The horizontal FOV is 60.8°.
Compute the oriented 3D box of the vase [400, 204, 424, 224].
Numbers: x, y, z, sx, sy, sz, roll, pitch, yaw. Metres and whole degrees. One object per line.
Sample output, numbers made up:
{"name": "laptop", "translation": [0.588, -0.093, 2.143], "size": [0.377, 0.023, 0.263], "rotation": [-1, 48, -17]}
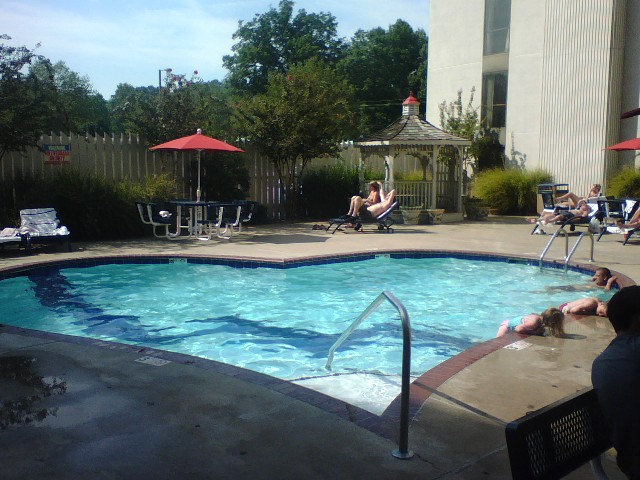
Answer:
{"name": "vase", "translation": [3.122, -0.891, 18.547], "size": [0.619, 0.483, 0.626], "rotation": [-1, 6, -23]}

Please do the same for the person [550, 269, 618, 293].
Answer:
{"name": "person", "translation": [4.377, 0.710, 9.132], "size": [0.960, 0.408, 0.454], "rotation": [0, -1, 13]}

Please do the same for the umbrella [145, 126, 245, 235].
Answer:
{"name": "umbrella", "translation": [-3.660, -1.636, 15.148], "size": [1.941, 2.774, 3.719], "rotation": [-4, 9, -27]}

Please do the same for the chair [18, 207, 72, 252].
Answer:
{"name": "chair", "translation": [-5.867, -0.295, 11.624], "size": [0.818, 0.777, 1.239], "rotation": [-3, 10, -36]}

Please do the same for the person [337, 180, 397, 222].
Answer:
{"name": "person", "translation": [1.468, -1.051, 15.962], "size": [1.251, 0.903, 1.283], "rotation": [0, 9, -10]}

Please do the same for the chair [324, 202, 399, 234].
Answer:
{"name": "chair", "translation": [1.276, -0.578, 15.943], "size": [1.774, 0.824, 1.047], "rotation": [1, 3, -7]}

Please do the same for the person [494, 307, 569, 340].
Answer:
{"name": "person", "translation": [2.488, 0.983, 6.554], "size": [0.464, 0.271, 0.753], "rotation": [-3, -1, -36]}

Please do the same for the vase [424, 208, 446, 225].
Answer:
{"name": "vase", "translation": [3.909, -0.839, 18.861], "size": [0.529, 0.476, 0.620], "rotation": [1, 6, 15]}
